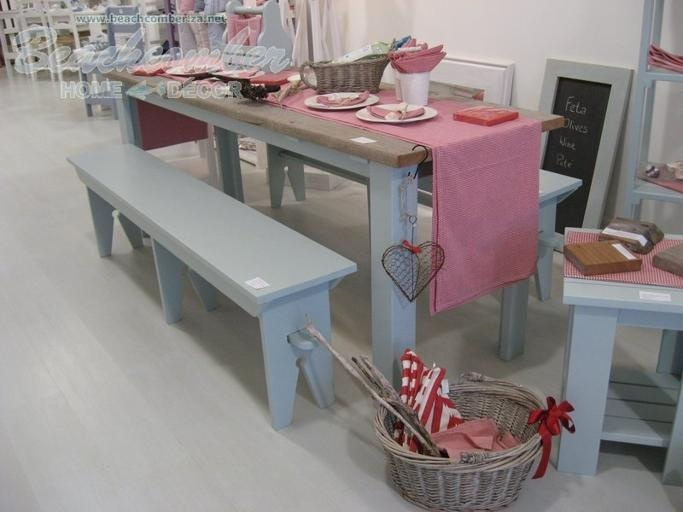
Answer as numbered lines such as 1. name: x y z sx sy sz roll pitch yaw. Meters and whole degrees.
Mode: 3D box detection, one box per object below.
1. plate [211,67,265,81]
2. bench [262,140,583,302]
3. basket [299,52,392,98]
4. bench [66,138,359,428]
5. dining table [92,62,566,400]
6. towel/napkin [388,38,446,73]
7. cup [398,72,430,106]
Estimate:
1. plate: -0.608 -1.070 2.922 0.190 0.043 0.215 20 29 38
2. bench: 0.437 -0.152 2.326 0.291 0.335 1.103 -25 38 -38
3. basket: 0.010 -0.940 2.649 0.355 0.153 0.240 -5 25 0
4. bench: -0.734 0.160 2.675 0.396 0.562 1.665 -28 44 -32
5. dining table: -0.063 -0.123 2.509 0.759 0.904 1.798 -19 30 -38
6. towel/napkin: 0.366 -0.913 2.303 0.182 0.083 0.181 -19 31 -29
7. cup: 0.345 -0.813 2.441 0.158 0.123 0.152 -4 34 3
